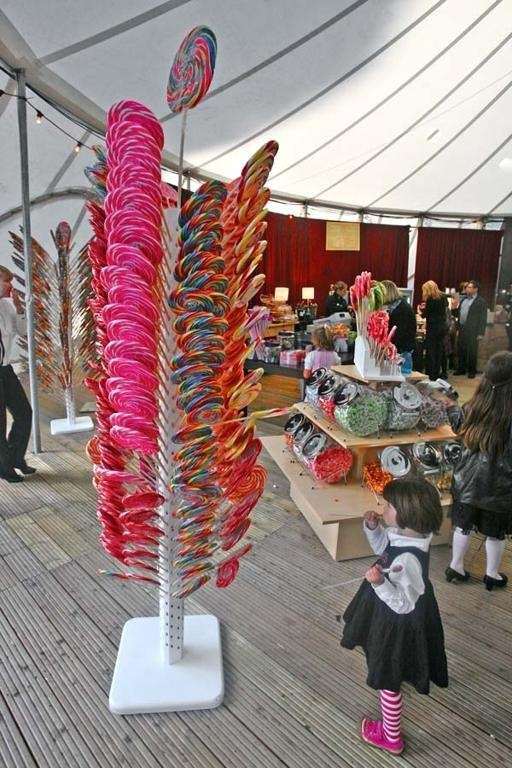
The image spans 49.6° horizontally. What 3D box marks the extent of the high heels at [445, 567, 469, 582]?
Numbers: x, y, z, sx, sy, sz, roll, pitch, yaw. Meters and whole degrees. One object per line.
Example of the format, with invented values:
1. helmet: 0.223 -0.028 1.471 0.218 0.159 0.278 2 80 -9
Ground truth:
1. high heels: 0.965 0.923 2.645 0.120 0.057 0.052 23 45 -14

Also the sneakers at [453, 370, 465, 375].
1. sneakers: 2.941 -0.144 7.994 0.167 0.106 0.062 2 5 -11

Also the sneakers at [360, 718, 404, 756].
1. sneakers: 0.395 1.128 1.795 0.061 0.066 0.155 -2 10 -40

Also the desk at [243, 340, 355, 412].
1. desk: 0.361 -0.126 6.516 0.775 0.667 0.744 7 14 21

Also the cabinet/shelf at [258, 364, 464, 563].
1. cabinet/shelf: 0.421 0.499 3.008 1.024 0.710 1.089 -4 20 -13

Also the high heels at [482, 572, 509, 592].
1. high heels: 1.143 0.938 2.610 0.124 0.055 0.060 13 -10 -35
